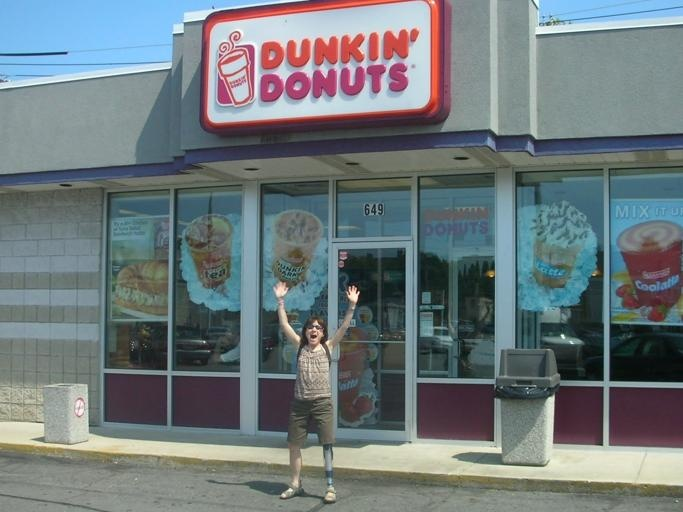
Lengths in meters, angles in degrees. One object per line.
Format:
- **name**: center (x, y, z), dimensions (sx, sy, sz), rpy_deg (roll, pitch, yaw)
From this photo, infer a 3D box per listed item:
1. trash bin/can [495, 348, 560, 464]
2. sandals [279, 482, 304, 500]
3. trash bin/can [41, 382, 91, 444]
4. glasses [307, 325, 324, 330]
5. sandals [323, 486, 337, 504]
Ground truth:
- **trash bin/can**: center (2.704, 2.111, 11.362), dimensions (0.924, 1.636, 0.897), rpy_deg (0, -2, 25)
- **sandals**: center (-0.654, 3.073, 10.122), dimensions (0.126, 0.150, 0.351), rpy_deg (-7, -13, 39)
- **trash bin/can**: center (-4.654, 2.622, 13.057), dimensions (0.632, 0.998, 0.757), rpy_deg (0, -3, 9)
- **glasses**: center (-0.334, 0.929, 10.098), dimensions (0.194, 0.065, 0.048), rpy_deg (1, -3, -29)
- **sandals**: center (-0.156, 3.058, 9.891), dimensions (0.108, 0.105, 0.240), rpy_deg (0, -6, 5)
